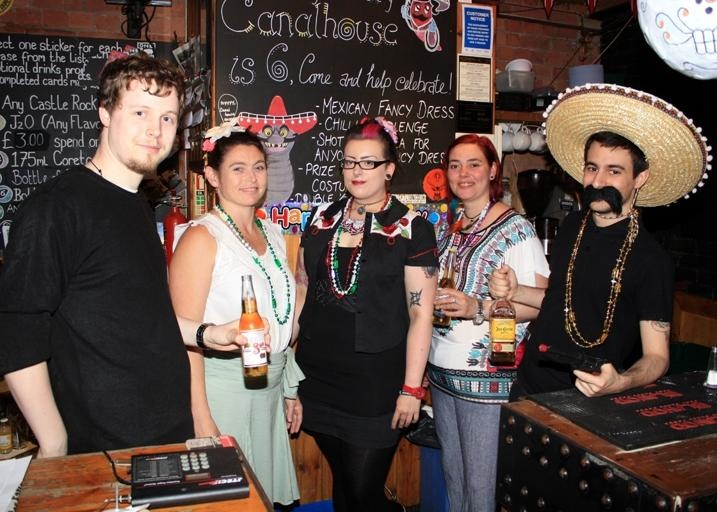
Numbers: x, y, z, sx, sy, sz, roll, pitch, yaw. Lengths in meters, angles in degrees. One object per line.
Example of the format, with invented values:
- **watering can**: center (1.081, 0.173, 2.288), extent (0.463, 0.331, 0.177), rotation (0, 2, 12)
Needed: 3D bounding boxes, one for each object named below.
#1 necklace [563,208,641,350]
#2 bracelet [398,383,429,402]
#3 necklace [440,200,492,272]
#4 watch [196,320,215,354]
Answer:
- **necklace**: center (1.045, 0.111, 2.290), extent (0.088, 0.640, 0.309), rotation (16, -7, -40)
- **bracelet**: center (0.252, 0.655, 2.618), extent (0.102, 0.076, 0.118), rotation (2, 0, -23)
- **necklace**: center (0.534, -0.104, 2.763), extent (0.145, 0.041, 0.507), rotation (18, 53, 22)
- **watch**: center (-0.622, 0.326, 2.172), extent (0.065, 0.113, 0.105), rotation (-6, -11, 33)
